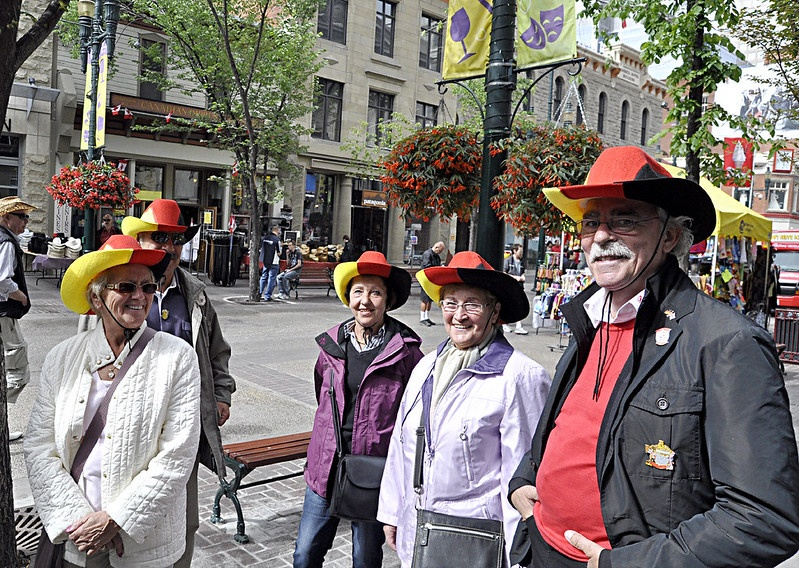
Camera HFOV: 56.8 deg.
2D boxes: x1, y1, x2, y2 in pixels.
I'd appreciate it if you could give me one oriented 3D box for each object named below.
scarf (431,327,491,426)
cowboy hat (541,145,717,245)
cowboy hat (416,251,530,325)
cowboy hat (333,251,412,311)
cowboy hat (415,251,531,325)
[{"bbox_3d":[0.377,0.567,4.379,0.240,0.475,0.399,21,8,-20],"label":"scarf"},{"bbox_3d":[1.180,-0.446,3.506,0.603,0.236,0.521,11,-15,-19],"label":"cowboy hat"},{"bbox_3d":[0.534,0.028,4.611,0.472,0.205,0.566,-8,-34,36],"label":"cowboy hat"},{"bbox_3d":[-0.172,-0.062,5.494,0.423,0.200,0.503,1,-23,1],"label":"cowboy hat"},{"bbox_3d":[0.568,0.045,4.638,0.472,0.207,0.567,-8,-34,36],"label":"cowboy hat"}]
